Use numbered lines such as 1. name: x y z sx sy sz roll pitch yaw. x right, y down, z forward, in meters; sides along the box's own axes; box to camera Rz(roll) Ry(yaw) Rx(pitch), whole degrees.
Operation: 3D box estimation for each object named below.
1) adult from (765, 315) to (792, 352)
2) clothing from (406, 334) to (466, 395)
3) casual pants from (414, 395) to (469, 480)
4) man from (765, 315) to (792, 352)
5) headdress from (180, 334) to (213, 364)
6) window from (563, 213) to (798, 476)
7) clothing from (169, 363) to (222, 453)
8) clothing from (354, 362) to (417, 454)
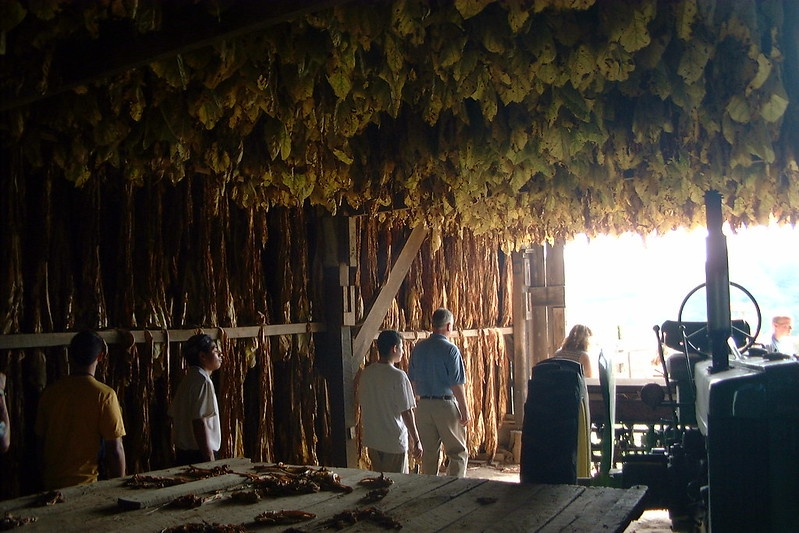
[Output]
1. adult: 5.507 0.982 10.211 0.377 0.831 0.734 0 1 28
2. clothing: 0.394 1.104 7.818 0.687 0.737 0.354 1 4 23
3. casual pants: 0.488 1.961 7.961 0.508 1.251 0.380 -2 19 19
4. man: 5.507 0.982 10.211 0.377 0.831 0.734 0 1 28
5. headdress: -1.716 0.670 5.990 0.247 0.274 0.202 -3 5 -26
6. window: 4.417 0.792 10.697 3.614 3.913 0.941 0 -7 11
7. clothing: -1.722 1.202 5.903 0.356 0.765 0.817 1 -2 -28
8. clothing: -0.130 1.412 7.055 0.550 0.908 0.270 -1 3 0
